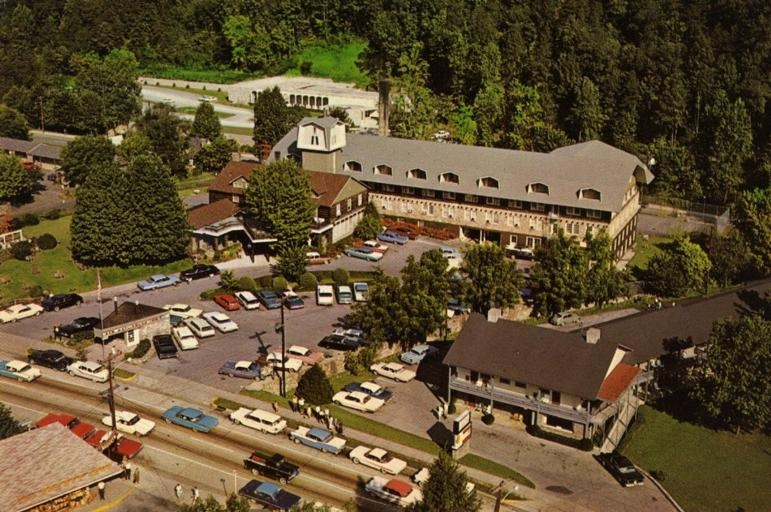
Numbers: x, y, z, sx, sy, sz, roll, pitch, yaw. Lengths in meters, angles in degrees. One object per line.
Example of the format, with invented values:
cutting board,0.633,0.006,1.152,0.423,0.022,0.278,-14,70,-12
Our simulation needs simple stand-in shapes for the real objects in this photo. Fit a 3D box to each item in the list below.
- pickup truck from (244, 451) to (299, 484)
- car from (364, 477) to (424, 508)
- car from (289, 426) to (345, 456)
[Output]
pickup truck,-15.157,28.606,129.183,5.679,2.699,3.662,17,29,18
car,0.617,31.553,127.204,6.508,2.284,3.369,15,30,22
car,-9.286,24.927,132.631,7.025,2.435,3.406,17,21,18
